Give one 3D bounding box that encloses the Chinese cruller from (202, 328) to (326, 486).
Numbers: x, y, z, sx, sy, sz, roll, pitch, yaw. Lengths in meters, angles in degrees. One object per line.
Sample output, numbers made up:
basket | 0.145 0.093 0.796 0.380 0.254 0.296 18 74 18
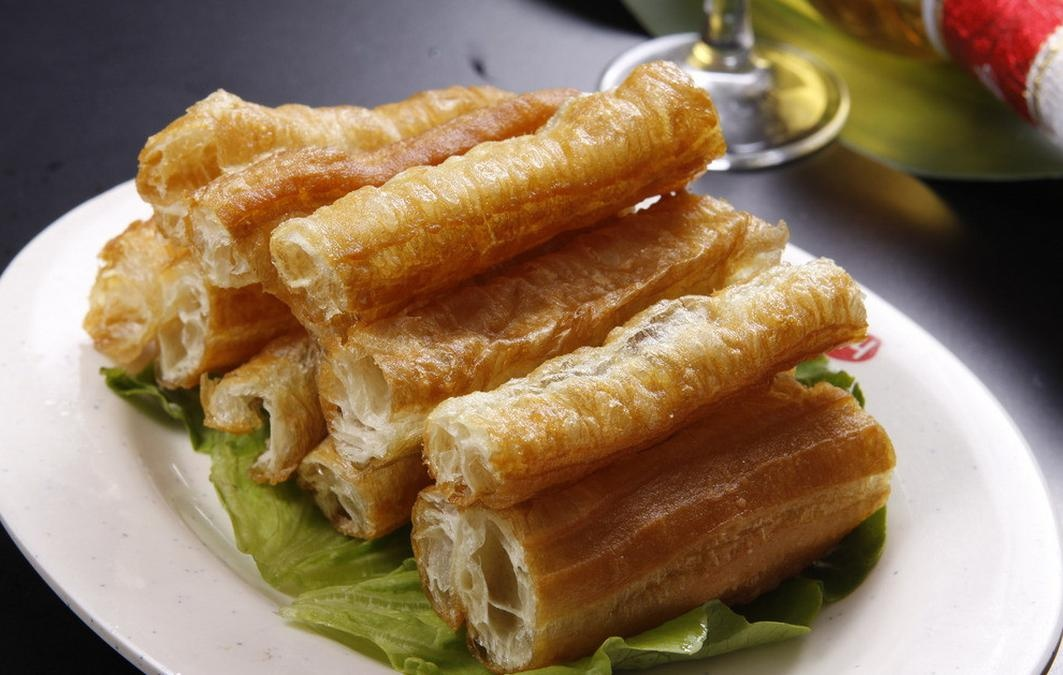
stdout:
Chinese cruller | -0.457 0.118 1.999 0.195 0.109 0.284 38 74 7
